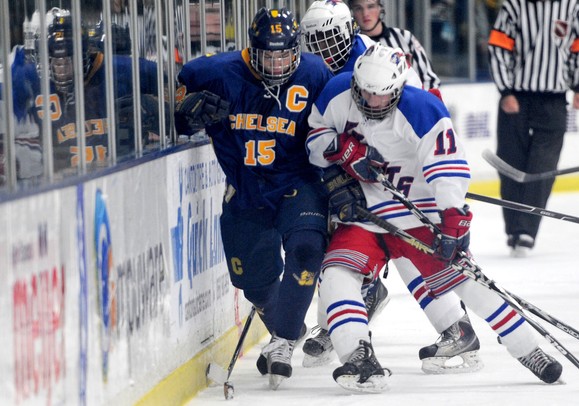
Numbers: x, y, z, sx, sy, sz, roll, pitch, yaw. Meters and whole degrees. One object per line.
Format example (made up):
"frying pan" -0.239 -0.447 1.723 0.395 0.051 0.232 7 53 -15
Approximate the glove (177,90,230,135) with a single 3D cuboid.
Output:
"glove" -0.399 -0.415 4.520 0.217 0.120 0.169 -3 -2 44

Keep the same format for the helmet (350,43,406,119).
"helmet" 0.398 -0.547 4.467 0.249 0.334 0.234 1 13 6

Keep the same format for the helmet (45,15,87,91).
"helmet" -0.877 -0.599 3.942 0.149 0.274 0.133 -6 0 -38

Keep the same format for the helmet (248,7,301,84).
"helmet" -0.073 -0.711 4.568 0.222 0.306 0.334 -3 48 0

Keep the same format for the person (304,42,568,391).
"person" 0.569 0.060 4.590 0.916 1.573 0.562 -4 13 -13

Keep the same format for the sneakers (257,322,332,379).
"sneakers" 0.032 0.794 4.857 0.156 0.209 0.491 23 34 6

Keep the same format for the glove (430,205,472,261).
"glove" 0.731 0.126 4.505 0.162 0.254 0.170 1 13 8

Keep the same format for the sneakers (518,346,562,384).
"sneakers" 1.123 0.734 4.617 0.098 0.095 0.255 23 13 -36
